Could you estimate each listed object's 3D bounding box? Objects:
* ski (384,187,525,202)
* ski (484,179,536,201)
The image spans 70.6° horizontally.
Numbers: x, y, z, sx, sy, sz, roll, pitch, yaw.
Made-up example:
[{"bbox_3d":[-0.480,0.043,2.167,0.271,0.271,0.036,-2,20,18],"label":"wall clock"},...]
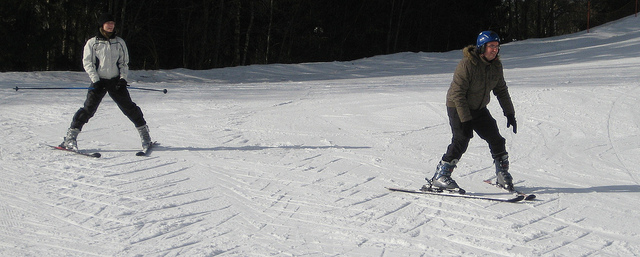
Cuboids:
[{"bbox_3d":[4.136,2.025,13.681,3.936,0.244,0.147,2,14,5],"label":"ski"},{"bbox_3d":[5.773,1.902,13.814,1.424,0.171,0.240,17,34,18],"label":"ski"}]
